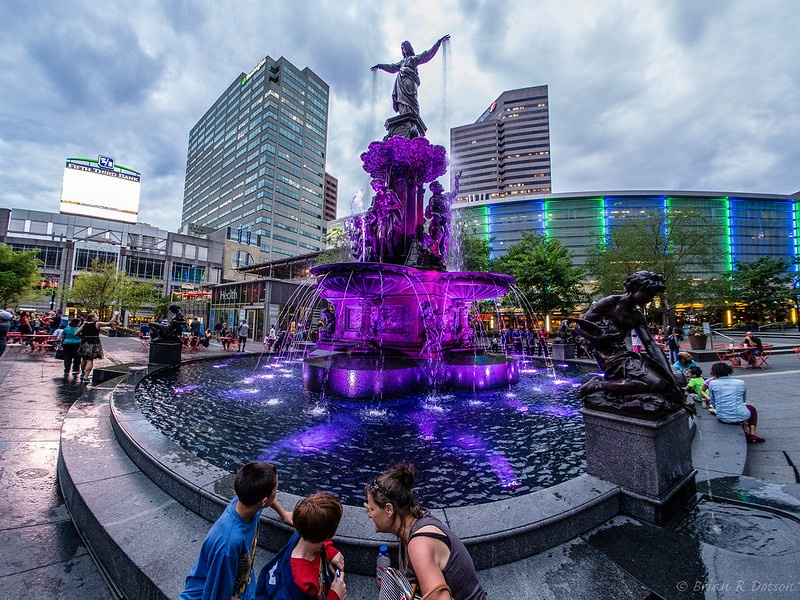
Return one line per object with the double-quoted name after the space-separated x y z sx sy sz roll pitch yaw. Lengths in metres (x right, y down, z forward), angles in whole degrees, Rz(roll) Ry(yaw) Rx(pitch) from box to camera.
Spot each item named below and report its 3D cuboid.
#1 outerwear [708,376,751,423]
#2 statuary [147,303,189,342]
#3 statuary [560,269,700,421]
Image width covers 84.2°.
6.204 1.778 8.338 0.602 0.812 0.739 -4 12 44 "outerwear"
-7.757 0.712 14.580 0.982 1.220 0.871 6 4 -16 "statuary"
3.213 0.673 6.929 2.061 2.201 1.844 6 -11 -29 "statuary"
